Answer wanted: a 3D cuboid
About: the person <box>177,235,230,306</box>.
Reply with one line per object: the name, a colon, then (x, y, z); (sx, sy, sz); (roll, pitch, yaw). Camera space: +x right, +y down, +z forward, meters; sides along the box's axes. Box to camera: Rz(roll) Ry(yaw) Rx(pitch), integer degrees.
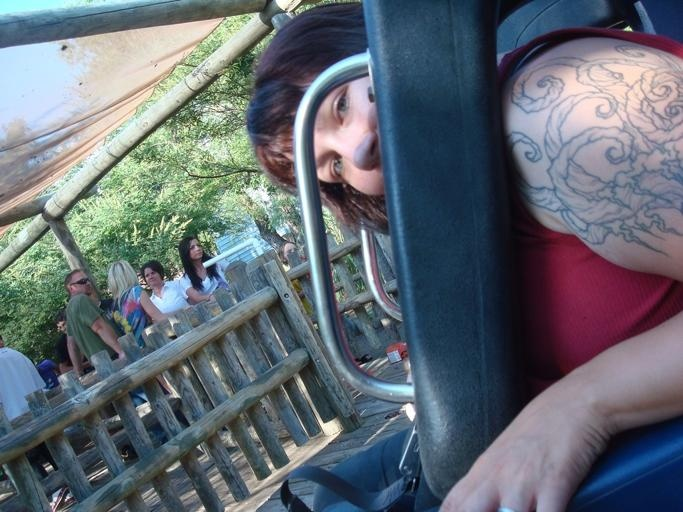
person: (-1.584, 0.114, 5.793); (0.408, 0.796, 1.132); (-19, 3, -6)
